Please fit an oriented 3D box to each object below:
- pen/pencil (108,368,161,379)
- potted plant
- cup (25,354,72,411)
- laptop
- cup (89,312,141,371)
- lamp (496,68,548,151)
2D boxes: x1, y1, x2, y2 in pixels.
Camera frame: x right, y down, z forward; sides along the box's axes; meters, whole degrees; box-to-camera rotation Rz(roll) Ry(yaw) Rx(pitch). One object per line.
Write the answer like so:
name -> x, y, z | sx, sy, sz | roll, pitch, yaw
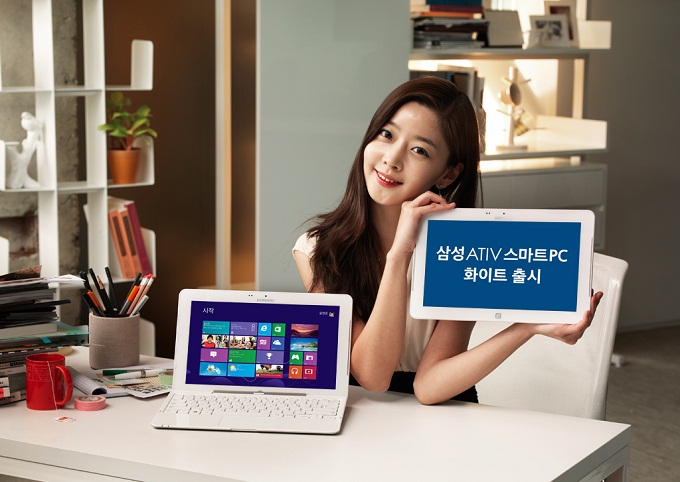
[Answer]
pen/pencil -> -0.532, 0.342, 1.502 | 0.161, 0.018, 0.018 | 0, 13, -30
potted plant -> -0.960, -0.456, 2.640 | 0.277, 0.376, 0.292 | 1, 5, -44
cup -> -0.664, 0.327, 1.345 | 0.131, 0.115, 0.085 | 8, 10, 35
laptop -> -0.170, 0.244, 1.251 | 0.410, 0.242, 0.317 | 3, 1, -3
cup -> -0.617, 0.261, 1.593 | 0.136, 0.146, 0.134 | 6, 11, -1
lamp -> 1.093, -0.847, 3.653 | 0.199, 0.417, 0.184 | -8, 27, -8
